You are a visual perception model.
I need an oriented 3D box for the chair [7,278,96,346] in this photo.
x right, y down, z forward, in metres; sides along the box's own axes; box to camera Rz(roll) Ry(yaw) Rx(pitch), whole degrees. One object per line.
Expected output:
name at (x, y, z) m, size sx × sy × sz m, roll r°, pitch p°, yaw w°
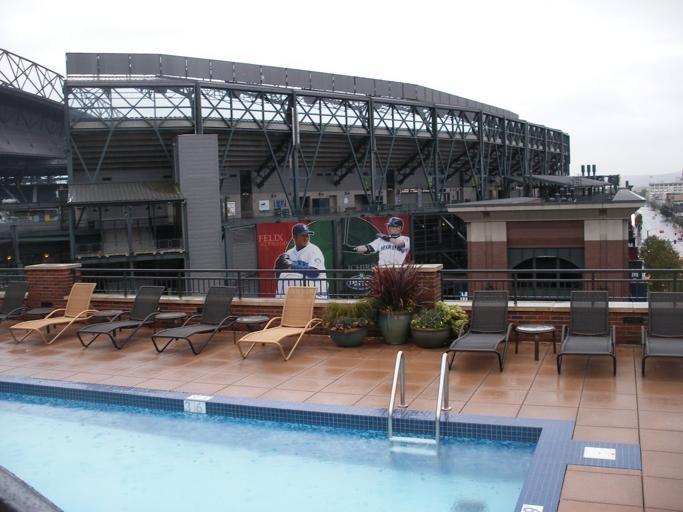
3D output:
chair at (-6.483, 1.272, 13.226) m, size 1.176 × 1.228 × 2.372 m, roll 2°, pitch 6°, yaw 20°

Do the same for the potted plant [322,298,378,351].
potted plant at (0.138, 1.295, 10.947) m, size 1.058 × 0.806 × 0.919 m, roll 0°, pitch -4°, yaw 2°

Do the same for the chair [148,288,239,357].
chair at (-2.923, 1.245, 11.641) m, size 1.069 × 1.117 × 2.026 m, roll 2°, pitch 8°, yaw 27°

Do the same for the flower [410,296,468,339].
flower at (1.830, 1.170, 10.723) m, size 0.764 × 0.403 × 0.710 m, roll -2°, pitch 0°, yaw 3°

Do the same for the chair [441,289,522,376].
chair at (2.355, 1.216, 9.649) m, size 0.957 × 0.764 × 1.689 m, roll -4°, pitch 11°, yaw 24°

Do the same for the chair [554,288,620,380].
chair at (3.946, 1.212, 9.298) m, size 0.832 × 1.139 × 1.787 m, roll -2°, pitch 10°, yaw 24°

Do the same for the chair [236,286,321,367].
chair at (-1.129, 1.277, 11.069) m, size 1.007 × 0.986 × 2.002 m, roll 1°, pitch 9°, yaw 24°
